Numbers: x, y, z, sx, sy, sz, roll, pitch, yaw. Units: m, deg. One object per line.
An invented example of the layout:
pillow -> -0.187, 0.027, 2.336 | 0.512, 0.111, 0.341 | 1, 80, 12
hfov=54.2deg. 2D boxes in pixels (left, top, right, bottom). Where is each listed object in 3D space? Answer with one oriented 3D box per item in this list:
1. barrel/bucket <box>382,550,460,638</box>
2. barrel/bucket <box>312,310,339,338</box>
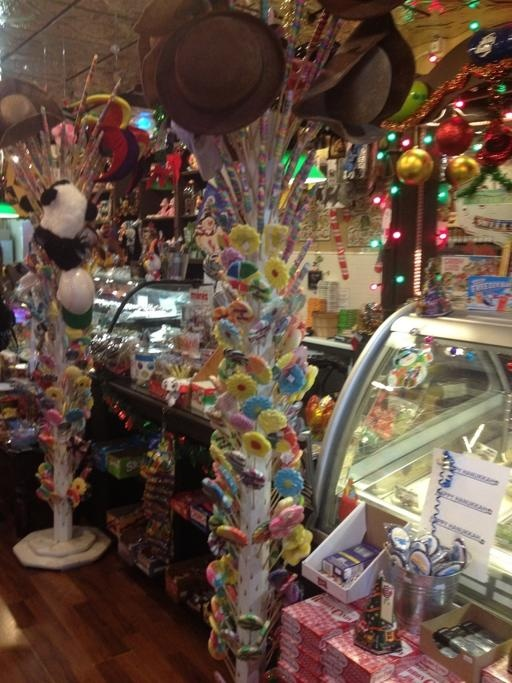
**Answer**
barrel/bucket -> 0.306, 0.489, 1.002 | 0.141, 0.135, 0.137 | 1, 3, 0
barrel/bucket -> 0.612, -0.150, 4.377 | 0.237, 0.187, 0.219 | 2, 5, 0
